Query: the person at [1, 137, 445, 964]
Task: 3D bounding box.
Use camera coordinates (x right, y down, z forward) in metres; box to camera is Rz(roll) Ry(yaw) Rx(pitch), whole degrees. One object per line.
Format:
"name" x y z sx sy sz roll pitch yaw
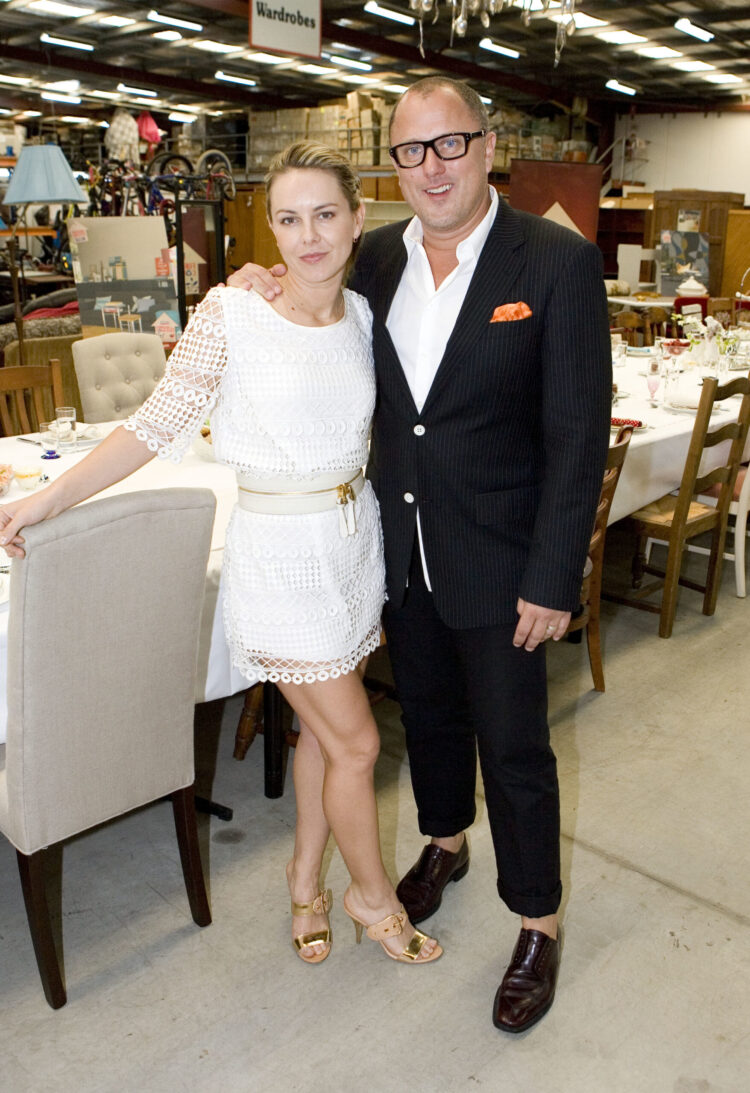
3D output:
"person" -0.178 0.112 1.347 0.677 1.458 0.206 -3 12 -22

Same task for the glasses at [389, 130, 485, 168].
"glasses" 0.094 -0.600 1.215 0.138 0.062 0.050 2 11 5

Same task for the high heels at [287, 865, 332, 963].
"high heels" -0.127 0.737 1.593 0.064 0.074 0.190 -3 52 -6

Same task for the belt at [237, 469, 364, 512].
"belt" -0.116 -0.090 1.313 0.209 0.066 0.117 -1 11 -8

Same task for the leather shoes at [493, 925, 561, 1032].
"leather shoes" 0.289 0.747 1.452 0.072 0.083 0.212 5 24 26

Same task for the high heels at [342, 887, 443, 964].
"high heels" 0.031 0.748 1.577 0.216 0.107 0.090 23 46 30

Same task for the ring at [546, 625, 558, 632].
"ring" 0.276 0.127 1.258 0.012 0.011 0.003 3 10 -10
